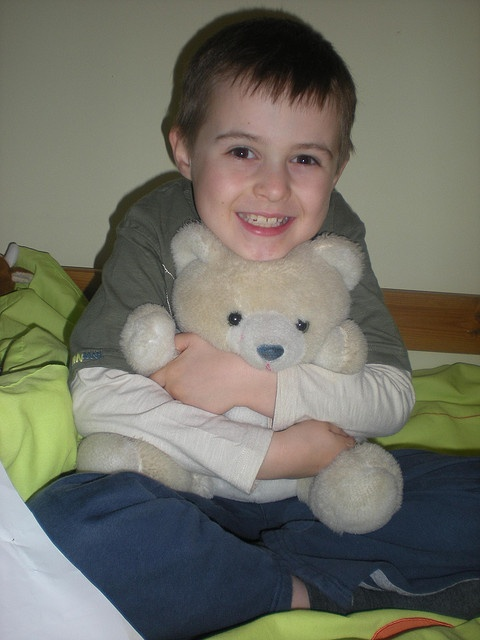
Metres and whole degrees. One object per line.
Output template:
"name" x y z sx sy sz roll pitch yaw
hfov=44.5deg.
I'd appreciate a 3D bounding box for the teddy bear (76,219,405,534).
"teddy bear" 0.013 0.076 0.853 0.454 0.376 0.328 5 31 -1
